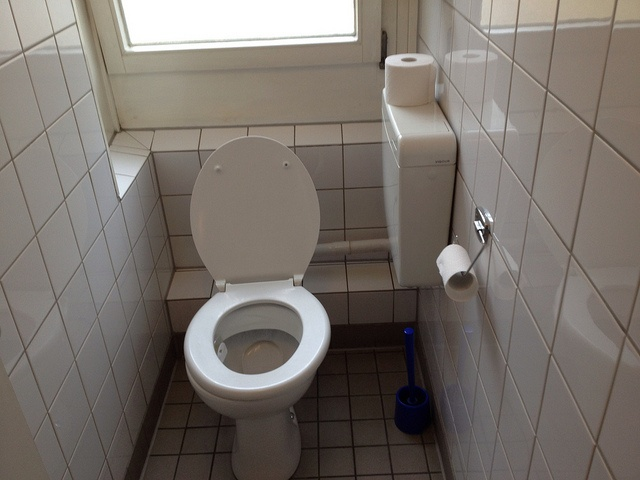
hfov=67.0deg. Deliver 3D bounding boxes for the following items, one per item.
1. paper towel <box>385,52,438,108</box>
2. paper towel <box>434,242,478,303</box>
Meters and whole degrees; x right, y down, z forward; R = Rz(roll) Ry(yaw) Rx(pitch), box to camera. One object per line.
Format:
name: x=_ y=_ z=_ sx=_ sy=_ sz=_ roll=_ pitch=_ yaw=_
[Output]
paper towel: x=0.323 y=-0.568 z=1.712 sx=0.181 sy=0.146 sz=0.185 roll=23 pitch=43 yaw=34
paper towel: x=0.365 y=0.082 z=1.312 sx=0.085 sy=0.160 sz=0.161 roll=-15 pitch=25 yaw=11
